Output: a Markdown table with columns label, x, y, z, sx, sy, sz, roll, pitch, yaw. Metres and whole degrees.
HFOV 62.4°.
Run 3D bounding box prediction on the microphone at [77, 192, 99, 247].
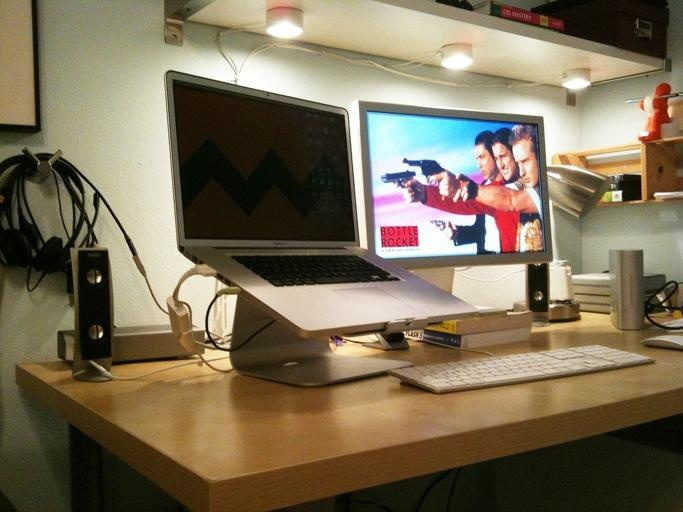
| label | x | y | z | sx | sy | sz | roll | pitch | yaw |
| --- | --- | --- | --- | --- | --- | --- | --- | --- | --- |
| microphone | -0.656 | -0.095 | 1.449 | 0.036 | 0.136 | 0.105 | 3 | 15 | -23 |

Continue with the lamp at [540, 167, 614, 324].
| label | x | y | z | sx | sy | sz | roll | pitch | yaw |
| --- | --- | --- | --- | --- | --- | --- | --- | --- | --- |
| lamp | 0.740 | -0.070 | 1.822 | 0.158 | 0.524 | 0.217 | 10 | 8 | 29 |

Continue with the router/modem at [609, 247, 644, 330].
| label | x | y | z | sx | sy | sz | roll | pitch | yaw |
| --- | --- | --- | --- | --- | --- | --- | --- | --- | --- |
| router/modem | 0.846 | 0.083 | 1.651 | 0.078 | 0.242 | 0.178 | -2 | 3 | 26 |

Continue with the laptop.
| label | x | y | z | sx | sy | sz | roll | pitch | yaw |
| --- | --- | --- | --- | --- | --- | --- | --- | --- | --- |
| laptop | -0.055 | -0.120 | 1.172 | 0.532 | 0.515 | 0.372 | -8 | 12 | -33 |

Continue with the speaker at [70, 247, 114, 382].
| label | x | y | z | sx | sy | sz | roll | pitch | yaw |
| --- | --- | --- | --- | --- | --- | --- | --- | --- | --- |
| speaker | -0.532 | 0.120 | 1.209 | 0.077 | 0.274 | 0.094 | -2 | 3 | -25 |
